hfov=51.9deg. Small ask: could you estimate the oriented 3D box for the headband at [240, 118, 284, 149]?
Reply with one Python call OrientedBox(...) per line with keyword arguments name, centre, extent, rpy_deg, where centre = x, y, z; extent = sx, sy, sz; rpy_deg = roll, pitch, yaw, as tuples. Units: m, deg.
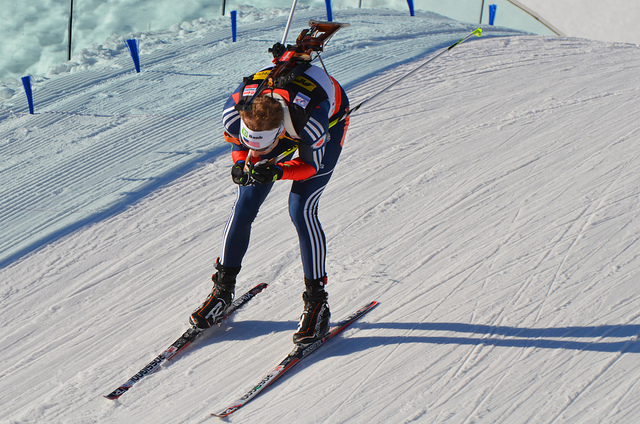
OrientedBox(name="headband", centre=(-0.532, -0.704, 5.748), extent=(0.395, 0.130, 0.318), rpy_deg=(6, 28, 1))
